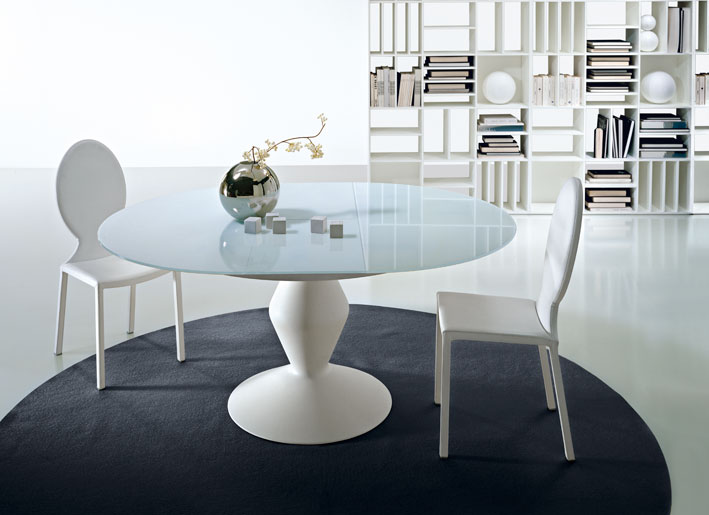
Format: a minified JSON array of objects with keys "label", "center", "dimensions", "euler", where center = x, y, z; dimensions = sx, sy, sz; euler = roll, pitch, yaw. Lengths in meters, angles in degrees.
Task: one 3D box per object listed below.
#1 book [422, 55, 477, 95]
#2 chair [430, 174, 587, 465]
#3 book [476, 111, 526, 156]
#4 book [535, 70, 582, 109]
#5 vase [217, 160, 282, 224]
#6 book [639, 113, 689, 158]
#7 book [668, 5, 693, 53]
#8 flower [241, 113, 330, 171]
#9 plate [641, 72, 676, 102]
[{"label":"book","center":[0.890,-1.702,5.231],"dimensions":[0.467,0.347,0.151],"euler":[5,16,12]},{"label":"chair","center":[0.599,0.216,2.266],"dimensions":[0.666,1.039,0.710],"euler":[-4,7,-16]},{"label":"book","center":[1.410,-1.158,5.369],"dimensions":[0.391,0.303,0.437],"euler":[1,18,5]},{"label":"book","center":[1.922,-1.577,5.295],"dimensions":[0.448,0.282,0.151],"euler":[6,17,16]},{"label":"vase","center":[-0.445,-0.279,2.356],"dimensions":[0.244,0.275,0.245],"euler":[15,22,40]},{"label":"book","center":[2.892,-1.137,5.247],"dimensions":[0.323,0.304,0.468],"euler":[2,13,13]},{"label":"book","center":[2.978,-2.087,5.112],"dimensions":[0.178,0.330,0.339],"euler":[-1,19,12]},{"label":"flower","center":[-0.330,-0.541,2.616],"dimensions":[0.402,0.248,0.127],"euler":[-4,1,-1]},{"label":"plate","center":[2.847,-1.578,5.229],"dimensions":[0.292,0.277,0.148],"euler":[-2,16,-9]}]
